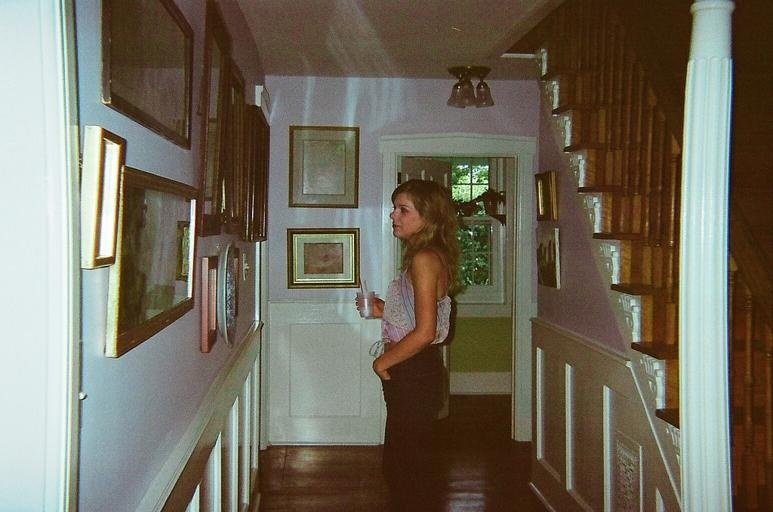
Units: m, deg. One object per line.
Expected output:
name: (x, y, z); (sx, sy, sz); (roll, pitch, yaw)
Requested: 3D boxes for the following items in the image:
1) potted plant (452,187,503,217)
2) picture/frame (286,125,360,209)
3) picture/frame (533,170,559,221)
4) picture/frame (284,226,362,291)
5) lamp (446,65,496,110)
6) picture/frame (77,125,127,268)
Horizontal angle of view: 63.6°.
potted plant: (0.813, -0.489, 5.794); (0.577, 0.260, 0.186); (-12, 6, 8)
picture/frame: (-0.474, -0.663, 4.442); (0.583, 0.638, 0.043); (0, -1, -3)
picture/frame: (0.961, -0.375, 3.835); (0.028, 0.277, 0.293); (0, 4, 30)
picture/frame: (-0.468, -0.008, 4.485); (0.456, 0.387, 0.035); (0, 1, -2)
lamp: (0.576, -1.140, 4.188); (0.336, 0.252, 0.182); (9, 22, 39)
picture/frame: (-0.654, -0.136, 1.443); (0.049, 0.321, 0.107); (1, 1, 31)
